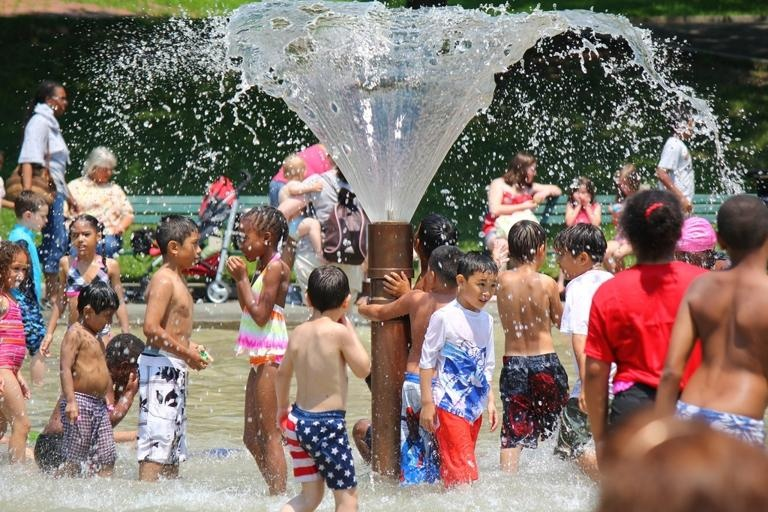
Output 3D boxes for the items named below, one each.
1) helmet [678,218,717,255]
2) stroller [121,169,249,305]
[{"bbox_3d":[2.771,-0.231,11.660,0.318,0.264,0.367,3,-6,-3],"label":"helmet"},{"bbox_3d":[-2.472,-0.358,17.437,1.418,1.789,1.046,-2,22,-1],"label":"stroller"}]
